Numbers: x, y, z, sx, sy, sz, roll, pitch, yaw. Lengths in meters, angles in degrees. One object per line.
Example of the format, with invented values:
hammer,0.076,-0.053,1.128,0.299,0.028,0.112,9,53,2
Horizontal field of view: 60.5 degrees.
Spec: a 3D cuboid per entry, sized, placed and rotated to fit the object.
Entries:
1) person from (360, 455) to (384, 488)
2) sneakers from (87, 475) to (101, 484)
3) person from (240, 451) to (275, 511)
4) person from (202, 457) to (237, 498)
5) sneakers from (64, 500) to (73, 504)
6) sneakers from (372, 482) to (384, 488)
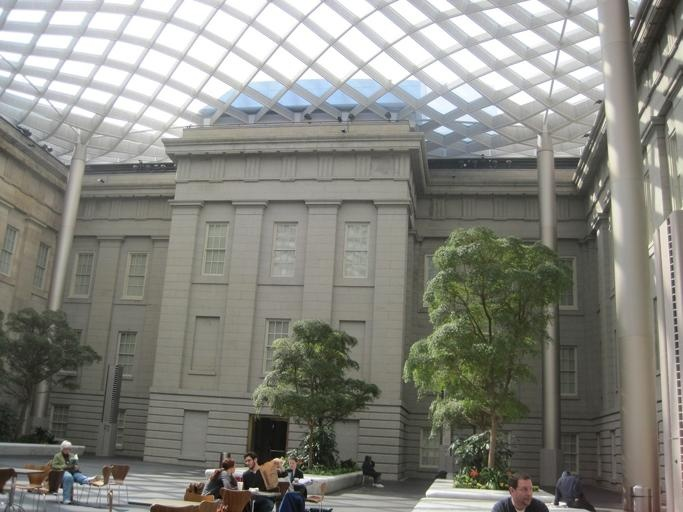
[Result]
person,1.315,9.173,25.031,0.705,1.147,1.115,10,-21,-22
sneakers,-6.554,5.914,15.423,0.320,0.231,0.635,10,-19,-26
person,-1.874,5.060,13.164,0.743,1.196,1.099,4,-19,-7
person,-2.569,4.749,12.501,0.684,0.817,0.785,4,-19,-7
sneakers,-7.249,6.492,15.445,0.298,0.096,0.101,-11,-11,29
sneakers,1.580,9.627,24.552,0.450,0.130,0.194,-1,-7,4
